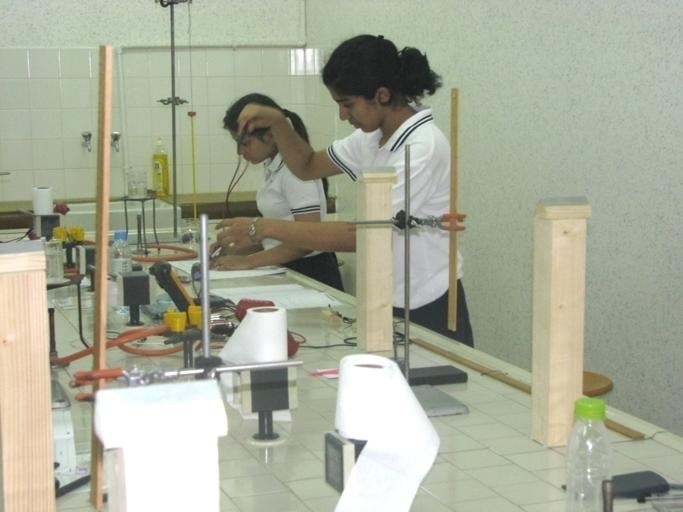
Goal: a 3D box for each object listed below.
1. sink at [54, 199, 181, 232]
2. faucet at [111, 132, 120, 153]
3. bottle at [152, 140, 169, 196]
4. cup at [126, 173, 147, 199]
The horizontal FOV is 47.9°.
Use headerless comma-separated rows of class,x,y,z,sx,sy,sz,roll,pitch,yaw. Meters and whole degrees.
sink,-0.992,-0.189,3.491,0.515,0.136,0.605,-3,7,-14
faucet,-1.111,-0.562,3.745,0.041,0.097,0.095,-2,7,-4
bottle,-0.895,-0.436,3.774,0.090,0.280,0.185,-3,7,-14
cup,-0.921,-0.316,3.422,0.106,0.134,0.129,0,3,-1
